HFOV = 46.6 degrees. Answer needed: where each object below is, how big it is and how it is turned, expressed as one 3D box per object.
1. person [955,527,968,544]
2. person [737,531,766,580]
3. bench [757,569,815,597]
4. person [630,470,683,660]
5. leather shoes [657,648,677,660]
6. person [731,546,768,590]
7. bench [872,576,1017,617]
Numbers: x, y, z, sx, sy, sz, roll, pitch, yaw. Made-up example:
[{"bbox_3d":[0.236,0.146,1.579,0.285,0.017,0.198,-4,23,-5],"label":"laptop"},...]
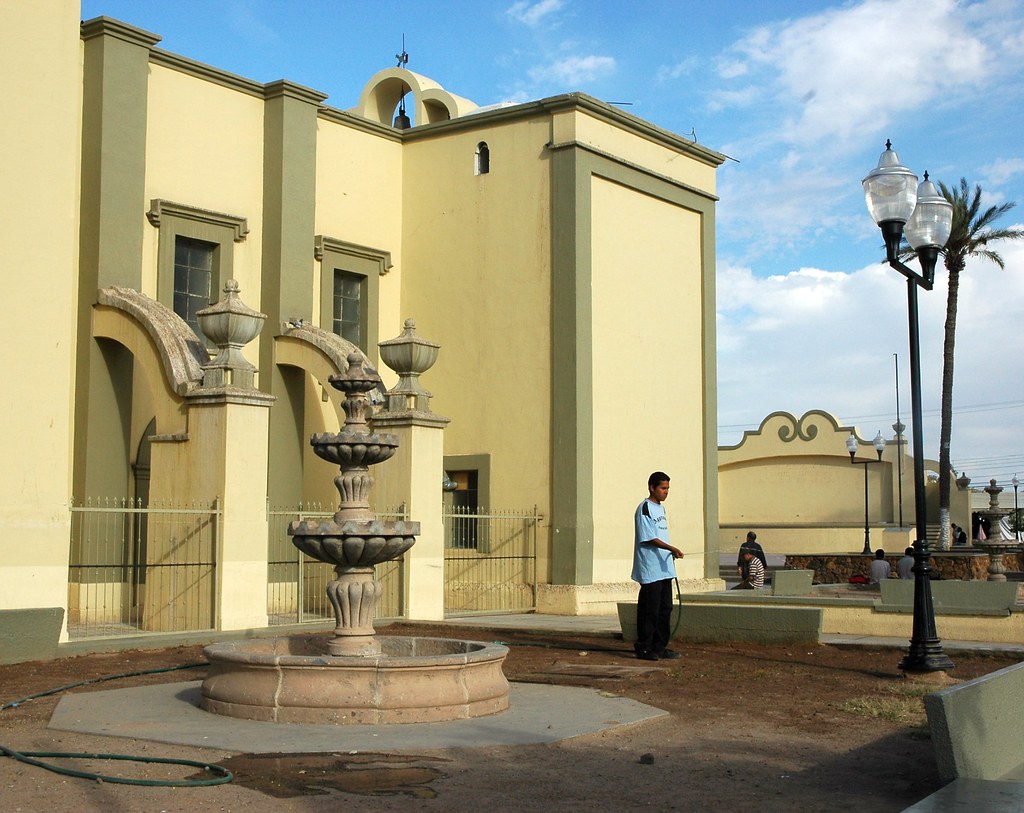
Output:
[{"bbox_3d":[15.224,4.381,40.070,0.250,0.450,0.778,-4,-5,18],"label":"person"},{"bbox_3d":[4.976,2.972,24.518,0.547,1.672,0.510,0,-49,12],"label":"person"},{"bbox_3d":[4.527,2.821,19.139,0.390,0.459,1.949,-4,-5,23],"label":"bench"},{"bbox_3d":[1.597,1.757,13.123,0.465,2.046,0.580,-2,-4,-1],"label":"person"},{"bbox_3d":[1.741,2.753,13.258,0.244,0.183,0.084,13,-17,-25],"label":"leather shoes"},{"bbox_3d":[4.916,3.175,23.989,0.441,1.325,0.376,-6,-18,6],"label":"person"},{"bbox_3d":[5.532,2.428,15.127,1.398,0.644,0.437,-4,-33,28],"label":"bench"}]
